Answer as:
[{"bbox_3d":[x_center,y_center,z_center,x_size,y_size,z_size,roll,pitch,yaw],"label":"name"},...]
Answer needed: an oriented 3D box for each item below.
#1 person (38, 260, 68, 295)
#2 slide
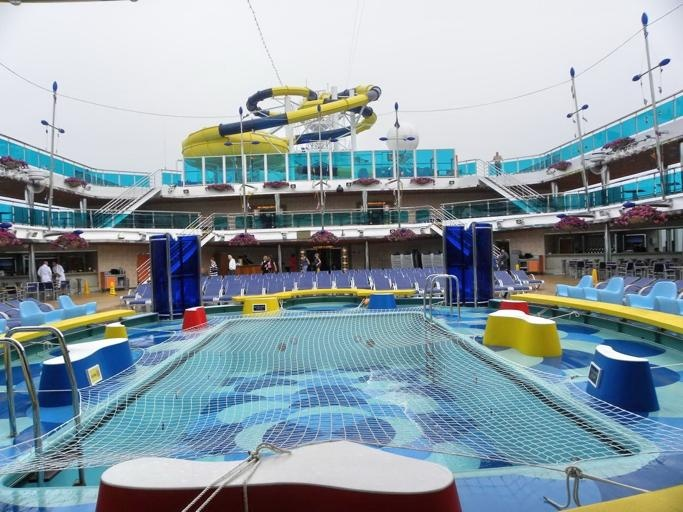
[{"bbox_3d":[-11.207,0.867,20.143,0.777,1.437,0.793,-23,-18,26],"label":"person"},{"bbox_3d":[-3.637,-8.435,31.809,10.760,4.999,7.912,-5,7,-33],"label":"slide"}]
